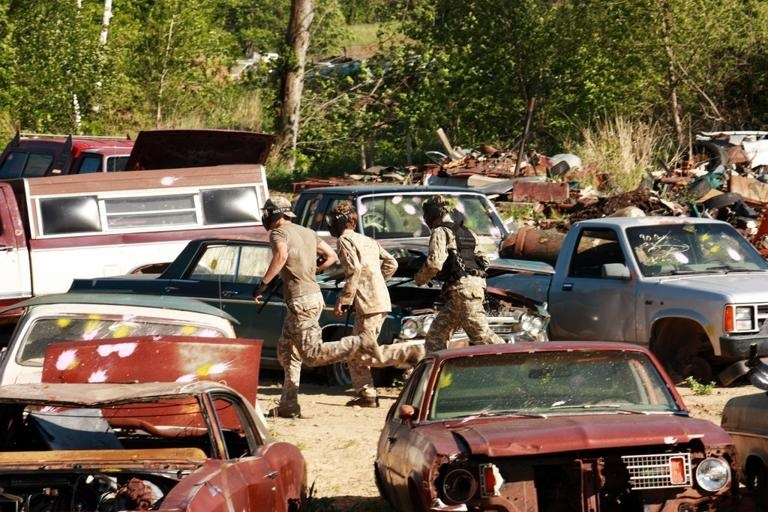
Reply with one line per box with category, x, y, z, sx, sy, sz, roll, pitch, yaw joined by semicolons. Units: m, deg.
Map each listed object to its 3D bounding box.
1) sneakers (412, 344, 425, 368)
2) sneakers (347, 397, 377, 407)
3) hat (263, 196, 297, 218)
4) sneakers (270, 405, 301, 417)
sneakers;0.399;1.168;10.149;0.180;0.262;0.124;-5;13;1
sneakers;-0.258;1.758;10.449;0.401;0.102;0.119;2;3;9
hat;-1.250;-0.566;10.101;0.408;0.140;0.248;0;1;27
sneakers;-1.145;1.805;10.032;0.289;0.067;0.146;0;1;8
